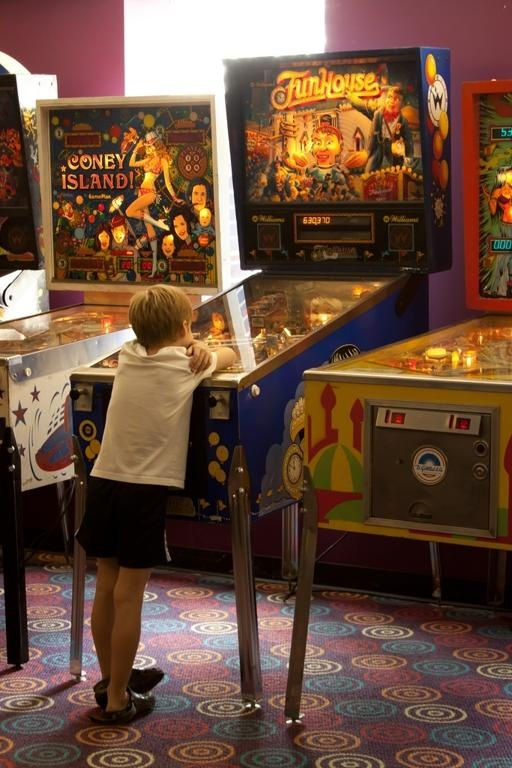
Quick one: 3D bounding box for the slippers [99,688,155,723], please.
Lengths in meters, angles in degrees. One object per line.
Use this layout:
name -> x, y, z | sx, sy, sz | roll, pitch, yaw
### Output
slippers -> -0.300, 0.725, 1.331 | 0.052, 0.058, 0.139 | 4, 5, 28

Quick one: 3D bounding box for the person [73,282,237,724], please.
person -> -0.251, 0.275, 1.349 | 0.291, 1.001, 0.342 | 6, -10, -43
